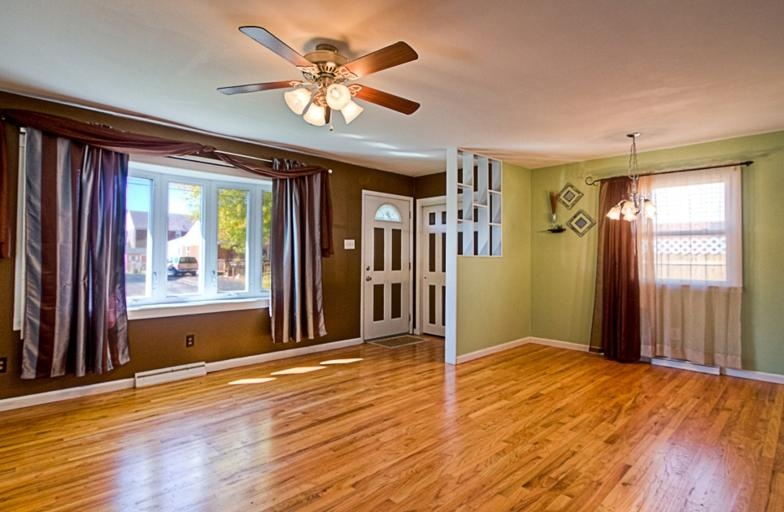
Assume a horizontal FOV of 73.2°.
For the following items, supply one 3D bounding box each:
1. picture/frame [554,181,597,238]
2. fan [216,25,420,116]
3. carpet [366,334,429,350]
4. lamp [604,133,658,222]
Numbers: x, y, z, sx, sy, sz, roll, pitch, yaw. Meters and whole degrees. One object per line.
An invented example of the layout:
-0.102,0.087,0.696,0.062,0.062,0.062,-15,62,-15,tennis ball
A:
2.686,-0.686,7.853,0.611,0.796,0.282,4,9,16,picture/frame
-0.569,-1.614,4.951,1.589,0.706,1.274,0,9,-5,fan
0.109,1.325,8.219,0.627,0.054,0.924,9,12,44,carpet
3.126,-1.001,6.878,0.597,1.150,1.199,5,9,21,lamp
